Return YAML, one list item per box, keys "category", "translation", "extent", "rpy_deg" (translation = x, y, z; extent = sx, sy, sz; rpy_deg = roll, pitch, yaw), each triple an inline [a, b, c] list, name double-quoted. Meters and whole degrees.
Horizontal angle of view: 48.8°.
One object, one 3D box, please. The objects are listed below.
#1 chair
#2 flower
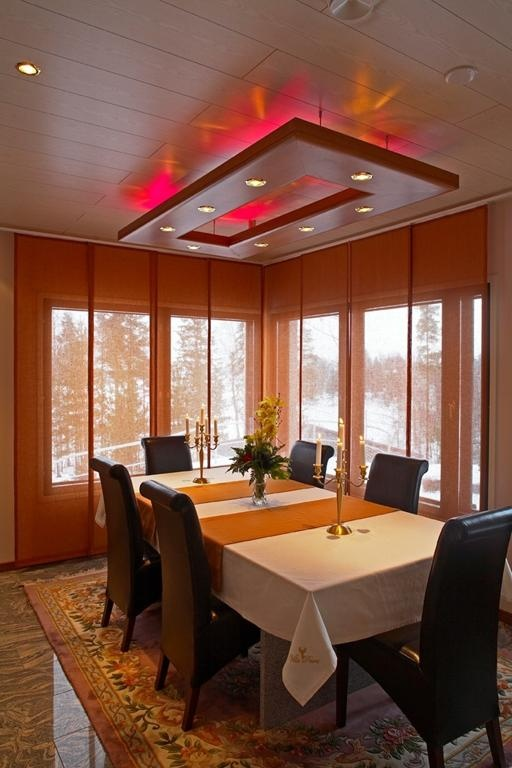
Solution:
- category: "chair"
  translation: [0.174, 0.926, 2.357]
  extent: [0.628, 0.585, 1.164]
  rpy_deg: [1, 0, -28]
- category: "flower"
  translation: [0.018, 0.322, 2.942]
  extent: [0.234, 0.337, 0.225]
  rpy_deg: [10, 6, 12]
